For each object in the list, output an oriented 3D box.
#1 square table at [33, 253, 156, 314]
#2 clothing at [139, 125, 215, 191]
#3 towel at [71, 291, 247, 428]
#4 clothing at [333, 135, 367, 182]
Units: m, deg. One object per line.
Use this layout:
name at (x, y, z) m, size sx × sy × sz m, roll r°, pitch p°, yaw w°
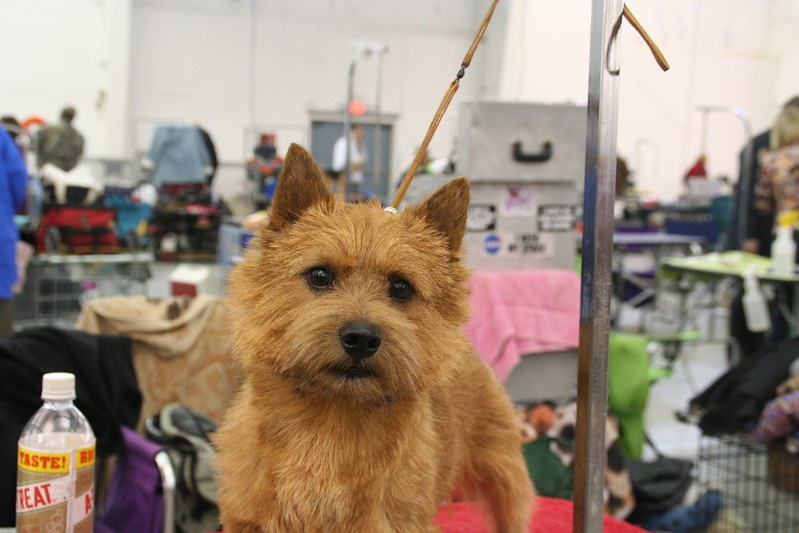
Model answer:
square table at (-1.407, 0.090, 4.042) m, size 0.581 × 0.352 × 0.436 m, roll 1°, pitch 5°, yaw -9°
clothing at (-1.060, -0.518, 4.179) m, size 0.287 × 0.277 × 0.112 m, roll -3°, pitch 21°, yaw -41°
towel at (-1.095, 0.414, 4.368) m, size 0.634 × 0.842 × 0.343 m, roll -1°, pitch 7°, yaw -11°
clothing at (-0.409, -0.867, 7.223) m, size 0.258 × 0.478 × 0.416 m, roll -3°, pitch 9°, yaw -24°
